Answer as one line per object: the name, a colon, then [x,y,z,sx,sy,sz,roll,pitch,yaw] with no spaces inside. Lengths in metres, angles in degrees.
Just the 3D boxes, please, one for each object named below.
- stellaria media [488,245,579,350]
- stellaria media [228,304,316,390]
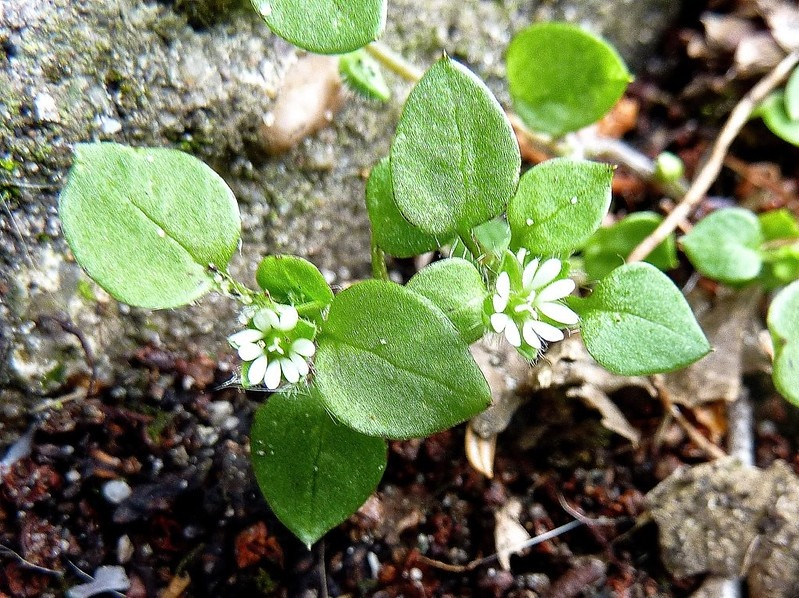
stellaria media: [0.302,-0.019,1.798,0.210,0.095,0.221,37,87,-13]
stellaria media: [-0.278,0.090,1.684,0.165,0.180,0.074,-41,124,-36]
